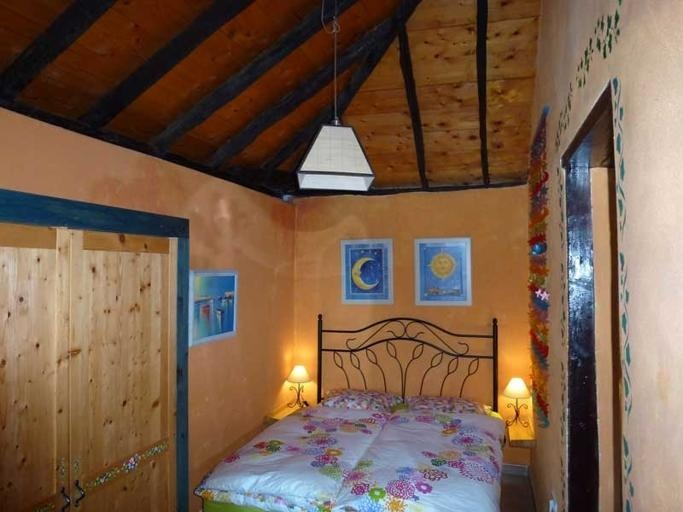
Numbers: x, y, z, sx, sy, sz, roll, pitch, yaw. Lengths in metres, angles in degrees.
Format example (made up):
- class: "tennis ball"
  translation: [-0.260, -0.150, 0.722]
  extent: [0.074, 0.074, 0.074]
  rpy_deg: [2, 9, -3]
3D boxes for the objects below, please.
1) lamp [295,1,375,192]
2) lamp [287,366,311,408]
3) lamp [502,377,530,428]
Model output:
- class: "lamp"
  translation: [-0.077, -1.030, 3.500]
  extent: [0.422, 1.232, 1.052]
  rpy_deg: [-2, 5, -5]
- class: "lamp"
  translation: [-0.404, 1.226, 5.247]
  extent: [0.208, 0.394, 0.228]
  rpy_deg: [0, -5, 14]
- class: "lamp"
  translation: [1.464, 1.207, 4.591]
  extent: [0.209, 0.415, 0.226]
  rpy_deg: [2, -4, -9]
